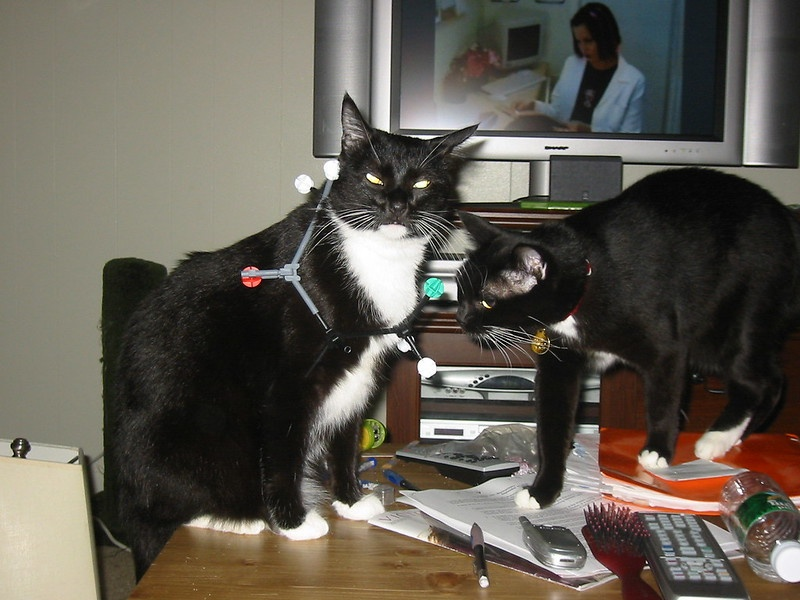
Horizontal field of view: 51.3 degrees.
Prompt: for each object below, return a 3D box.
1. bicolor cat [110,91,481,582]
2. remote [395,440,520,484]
[{"bbox_3d":[-0.229,0.126,1.925,0.901,0.890,0.448,-6,-4,34],"label":"bicolor cat"},{"bbox_3d":[0.136,0.384,1.956,0.251,0.040,0.163,3,-4,37],"label":"remote"}]
